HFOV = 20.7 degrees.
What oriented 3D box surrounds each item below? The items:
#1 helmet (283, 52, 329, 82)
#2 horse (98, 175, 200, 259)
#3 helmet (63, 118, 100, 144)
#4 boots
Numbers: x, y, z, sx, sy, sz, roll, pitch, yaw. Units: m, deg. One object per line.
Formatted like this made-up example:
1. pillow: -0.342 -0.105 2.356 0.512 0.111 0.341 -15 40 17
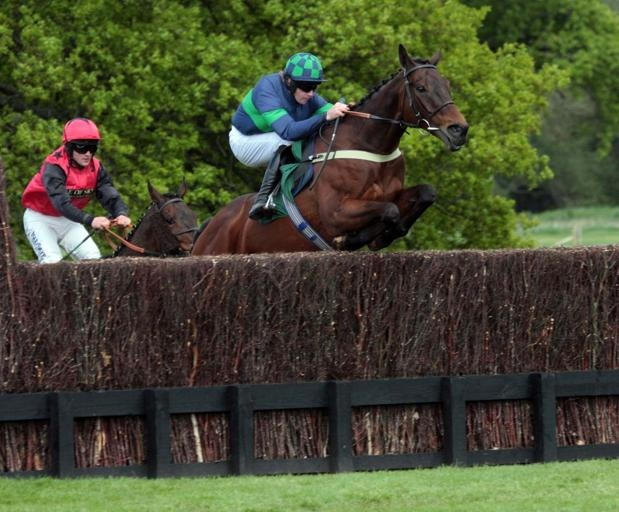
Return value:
1. helmet: -0.042 -1.714 15.577 0.263 0.173 0.337 -7 18 -38
2. horse: -1.650 -0.143 17.036 0.478 1.007 1.684 -9 -2 -33
3. helmet: -2.180 -1.135 15.638 0.229 0.142 0.301 -3 6 -34
4. boots: -0.358 -0.643 15.732 0.261 0.812 0.233 34 -18 -29
